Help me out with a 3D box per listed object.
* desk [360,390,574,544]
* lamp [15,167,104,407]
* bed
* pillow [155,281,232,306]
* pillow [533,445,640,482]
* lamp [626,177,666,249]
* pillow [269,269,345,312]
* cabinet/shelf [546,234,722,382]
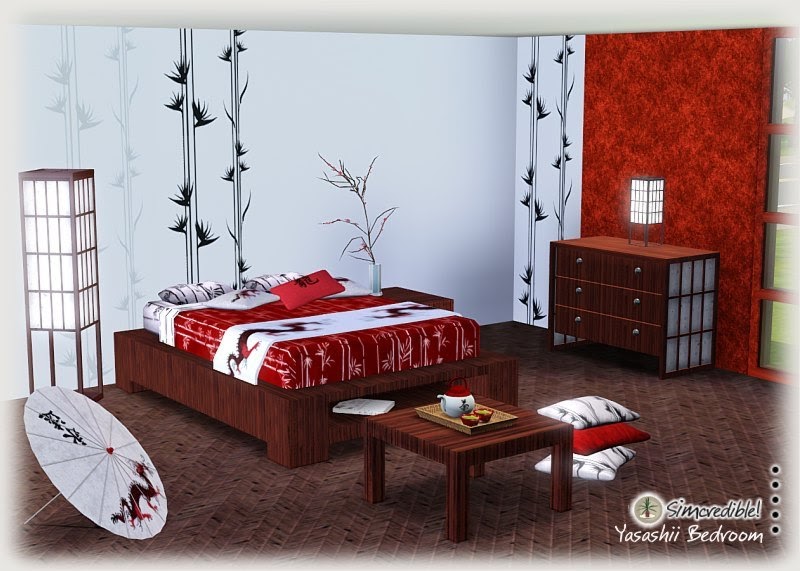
[{"bbox_3d":[0.308,0.799,3.024,0.760,0.424,0.765,-6,8,-39],"label":"desk"},{"bbox_3d":[-2.569,0.046,4.444,0.608,1.814,0.404,-7,14,-25],"label":"lamp"},{"bbox_3d":[-0.791,0.730,5.036,3.183,0.461,2.926,2,7,-12],"label":"bed"},{"bbox_3d":[-1.772,0.065,5.011,0.439,0.127,0.254,-6,8,-40],"label":"pillow"},{"bbox_3d":[1.086,1.050,3.444,0.292,0.084,0.302,-1,3,30],"label":"pillow"},{"bbox_3d":[2.295,-0.813,5.456,0.237,0.447,0.210,-10,28,2],"label":"lamp"},{"bbox_3d":[-0.758,0.029,4.970,0.512,0.074,0.282,-12,42,-42],"label":"pillow"},{"bbox_3d":[2.178,0.154,5.510,0.687,1.102,1.307,-10,14,-38],"label":"cabinet/shelf"}]
